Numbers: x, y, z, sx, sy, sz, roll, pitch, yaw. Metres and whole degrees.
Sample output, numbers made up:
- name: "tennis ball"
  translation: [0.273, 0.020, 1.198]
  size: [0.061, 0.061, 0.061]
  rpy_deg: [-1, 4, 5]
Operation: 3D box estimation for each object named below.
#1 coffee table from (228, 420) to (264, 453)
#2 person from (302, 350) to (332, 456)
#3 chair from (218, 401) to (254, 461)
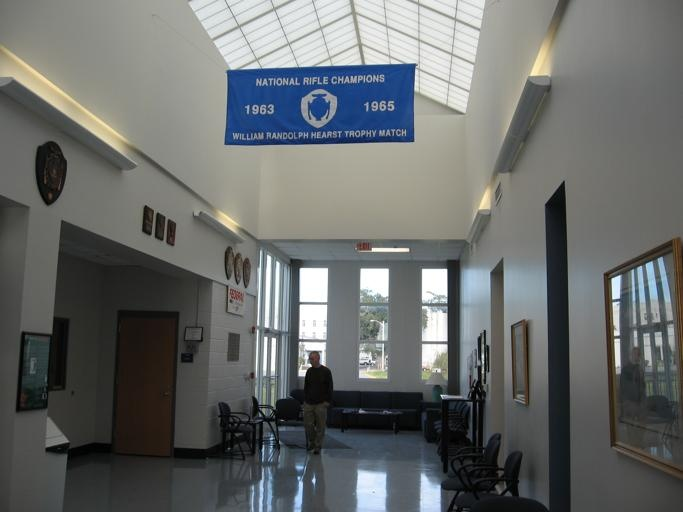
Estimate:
- name: "coffee table"
  translation: [-1.949, 3.636, 9.601]
  size: [0.662, 0.797, 0.762]
  rpy_deg: [1, -12, -5]
- name: "person"
  translation: [-0.530, 2.967, 9.388]
  size: [0.492, 2.018, 0.649]
  rpy_deg: [4, -5, -22]
- name: "chair"
  translation: [-2.119, 3.471, 9.360]
  size: [0.740, 1.014, 0.811]
  rpy_deg: [-4, -11, 28]
